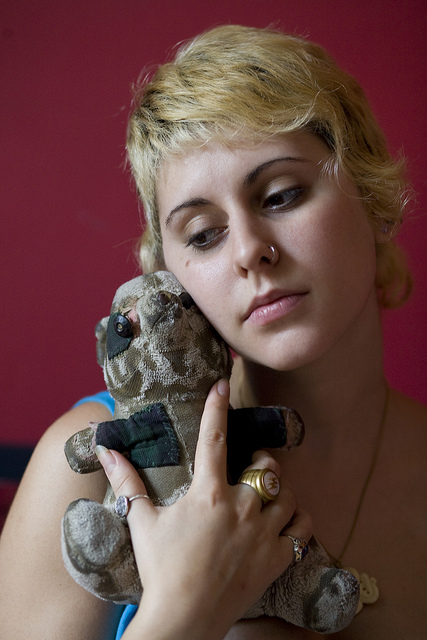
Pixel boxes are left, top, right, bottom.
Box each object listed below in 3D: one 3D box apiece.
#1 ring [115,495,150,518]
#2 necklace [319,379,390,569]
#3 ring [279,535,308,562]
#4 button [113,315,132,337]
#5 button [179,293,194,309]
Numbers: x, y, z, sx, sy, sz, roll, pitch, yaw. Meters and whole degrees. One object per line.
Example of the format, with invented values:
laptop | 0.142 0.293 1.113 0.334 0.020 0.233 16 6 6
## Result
ring | -0.123 0.273 0.977 0.040 0.020 0.033 -5 6 -30
necklace | 0.270 0.319 1.256 0.009 0.291 0.092 27 -22 -31
ring | 0.122 0.349 1.007 0.026 0.017 0.031 -1 41 -47
button | -0.148 0.010 1.043 0.037 0.033 0.015 12 29 43
button | -0.046 -0.032 1.117 0.023 0.025 0.028 1 -3 20
